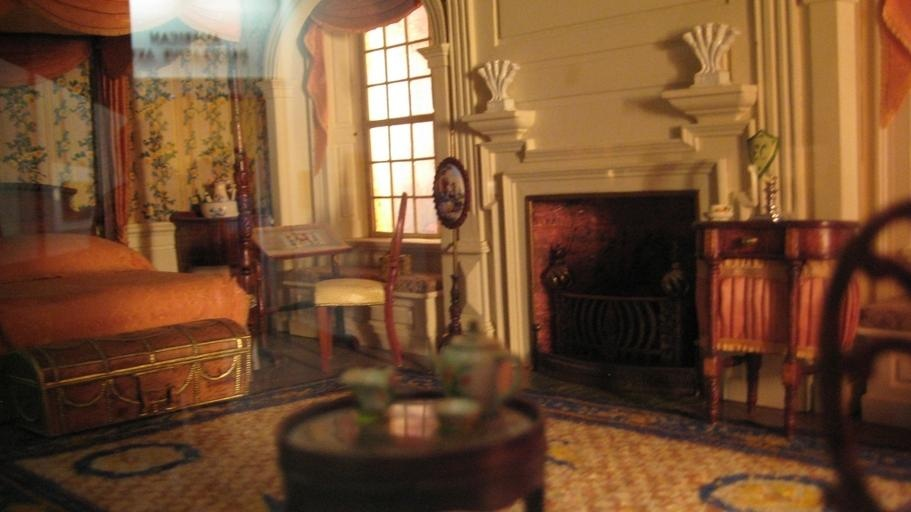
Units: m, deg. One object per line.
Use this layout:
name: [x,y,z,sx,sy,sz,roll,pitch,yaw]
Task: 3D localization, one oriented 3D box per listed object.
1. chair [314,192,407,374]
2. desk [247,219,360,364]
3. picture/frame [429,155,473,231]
chair: [-0.932,0.228,6.627,0.840,1.676,0.680,1,5,-6]
desk: [-1.688,0.181,7.608,1.080,1.025,0.635,-4,17,3]
picture/frame: [0.000,-0.583,6.391,0.401,0.672,0.190,5,7,41]
